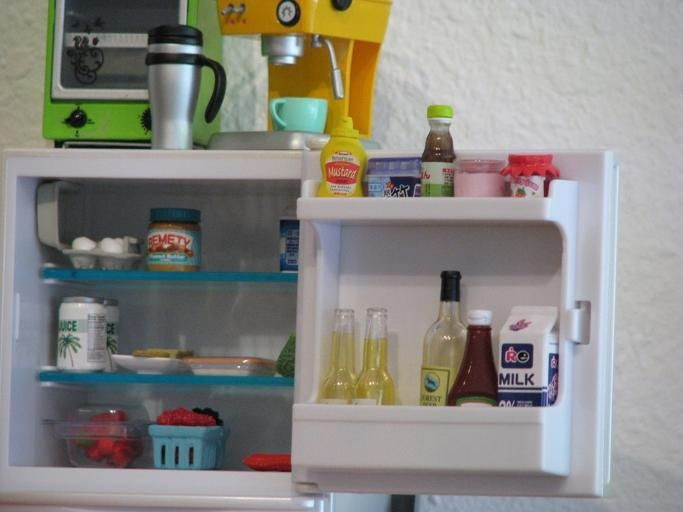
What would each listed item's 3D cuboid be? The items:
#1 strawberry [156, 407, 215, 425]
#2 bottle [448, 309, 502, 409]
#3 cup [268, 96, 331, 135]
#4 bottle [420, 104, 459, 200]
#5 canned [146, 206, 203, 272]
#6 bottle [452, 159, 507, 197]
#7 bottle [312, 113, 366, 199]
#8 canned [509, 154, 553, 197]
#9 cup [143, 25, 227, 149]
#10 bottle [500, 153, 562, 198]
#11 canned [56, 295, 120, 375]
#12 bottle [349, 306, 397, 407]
[{"bbox_3d":[-0.375,0.394,2.713,0.084,0.026,0.063,3,-4,2],"label":"strawberry"},{"bbox_3d":[0.298,0.261,2.435,0.111,0.283,0.105,3,4,0],"label":"bottle"},{"bbox_3d":[-0.109,-0.348,2.758,0.152,0.109,0.119,-12,21,-35],"label":"cup"},{"bbox_3d":[0.216,-0.236,2.480,0.076,0.209,0.131,-2,2,7],"label":"bottle"},{"bbox_3d":[-0.402,-0.039,2.792,0.146,0.166,0.144,-6,-8,44],"label":"canned"},{"bbox_3d":[0.302,-0.170,2.430,0.087,0.067,0.089,2,0,0],"label":"bottle"},{"bbox_3d":[0.001,-0.222,2.487,0.112,0.178,0.062,-2,2,2],"label":"bottle"},{"bbox_3d":[0.413,-0.179,2.457,0.092,0.084,0.092,-3,-5,32],"label":"canned"},{"bbox_3d":[-0.384,-0.411,2.744,0.186,0.302,0.131,-3,2,-18],"label":"cup"},{"bbox_3d":[0.410,-0.176,2.407,0.096,0.088,0.096,-2,-5,31],"label":"bottle"},{"bbox_3d":[-0.622,0.194,2.736,0.169,0.195,0.171,4,-8,-24],"label":"canned"},{"bbox_3d":[0.069,0.224,2.467,0.088,0.212,0.040,-2,2,2],"label":"bottle"}]
